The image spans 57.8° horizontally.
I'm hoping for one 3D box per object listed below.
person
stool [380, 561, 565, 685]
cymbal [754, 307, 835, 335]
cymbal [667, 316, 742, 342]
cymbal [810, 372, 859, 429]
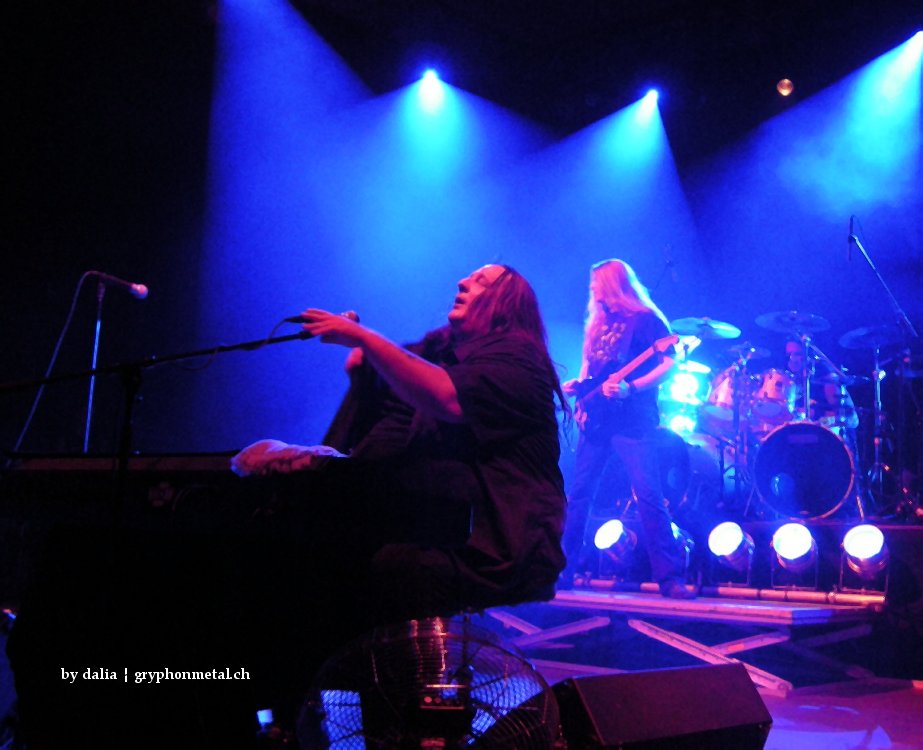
[{"bbox_3d":[-0.126,0.310,2.991,1.319,1.885,0.853,6,-20,-17],"label":"person"},{"bbox_3d":[0.018,0.779,2.746,0.532,0.410,0.693,-3,-20,7],"label":"stool"},{"bbox_3d":[2.729,-0.436,6.859,0.357,0.093,0.378,6,-6,6],"label":"cymbal"},{"bbox_3d":[2.066,-0.400,7.090,0.332,0.084,0.351,7,-5,6],"label":"cymbal"},{"bbox_3d":[2.947,0.208,6.724,0.420,0.479,0.416,0,-3,-28],"label":"cymbal"}]
